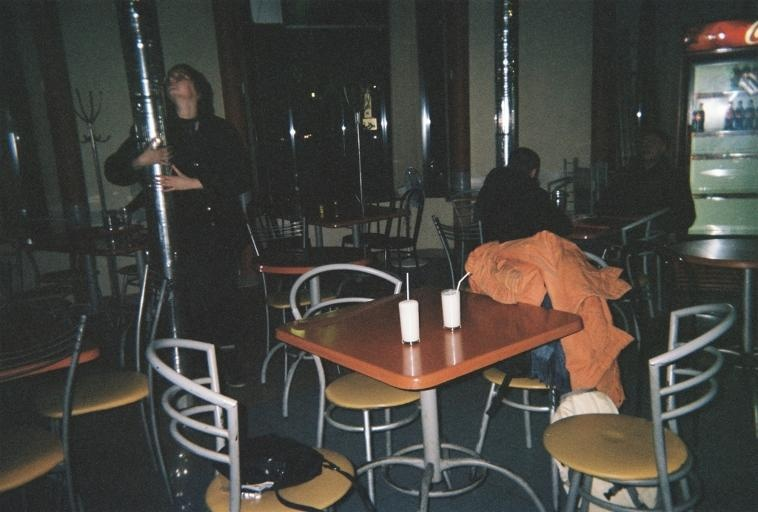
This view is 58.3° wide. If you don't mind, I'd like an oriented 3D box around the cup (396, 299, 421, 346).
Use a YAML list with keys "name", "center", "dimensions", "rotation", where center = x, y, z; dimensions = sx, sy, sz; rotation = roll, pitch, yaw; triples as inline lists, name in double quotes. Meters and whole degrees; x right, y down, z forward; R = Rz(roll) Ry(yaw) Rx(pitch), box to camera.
- name: "cup"
  center: [0.170, 0.366, 3.873]
  dimensions: [0.111, 0.249, 0.140]
  rotation: [-5, 10, 1]

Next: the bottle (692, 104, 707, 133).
- name: "bottle"
  center: [3.737, -1.617, 7.959]
  dimensions: [0.145, 0.337, 0.163]
  rotation: [-1, 11, 22]

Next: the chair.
- name: "chair"
  center: [0.419, 0.799, 3.942]
  dimensions: [3.038, 1.643, 0.885]
  rotation: [-5, 10, -2]

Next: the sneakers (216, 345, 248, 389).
- name: "sneakers"
  center: [-1.202, 0.892, 5.523]
  dimensions: [0.151, 0.112, 0.545]
  rotation: [-2, 16, -20]
